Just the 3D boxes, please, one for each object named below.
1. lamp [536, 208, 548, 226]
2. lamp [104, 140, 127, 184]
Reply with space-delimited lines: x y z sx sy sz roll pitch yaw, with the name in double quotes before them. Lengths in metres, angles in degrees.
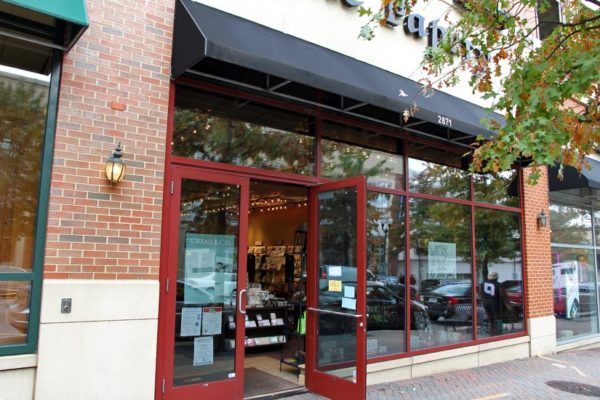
"lamp" 6.489 0.475 12.459 0.394 0.483 0.186 6 -13 -36
"lamp" -2.797 -0.567 7.064 0.285 0.639 0.197 3 -11 -22
